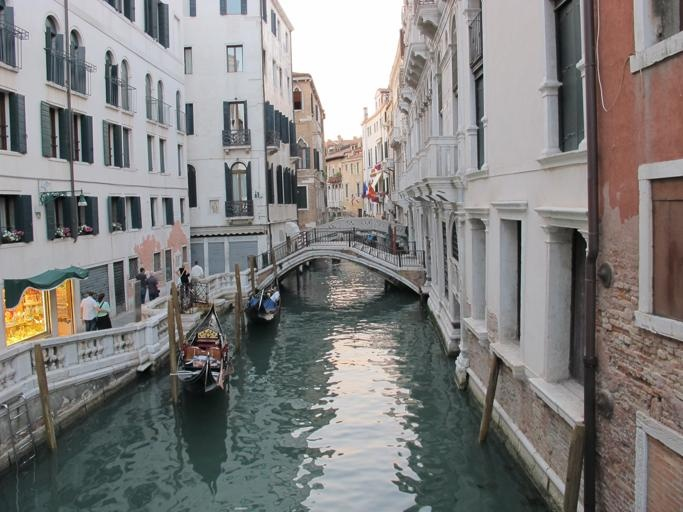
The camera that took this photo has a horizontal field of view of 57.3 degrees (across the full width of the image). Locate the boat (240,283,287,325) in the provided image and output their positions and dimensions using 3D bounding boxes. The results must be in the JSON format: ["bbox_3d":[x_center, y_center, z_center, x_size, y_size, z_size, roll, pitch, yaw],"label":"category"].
[{"bbox_3d":[-3.574,2.135,27.972,1.128,1.690,4.241,1,5,3],"label":"boat"}]

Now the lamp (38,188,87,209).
[{"bbox_3d":[-8.919,-1.871,20.243,0.834,0.531,2.460,-3,6,6],"label":"lamp"}]

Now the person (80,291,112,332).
[{"bbox_3d":[-7.635,1.655,19.424,0.765,1.274,1.000,-6,6,-27],"label":"person"}]

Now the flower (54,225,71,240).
[{"bbox_3d":[-8.999,-0.775,20.153,0.381,0.230,0.529,-3,8,-39],"label":"flower"}]
